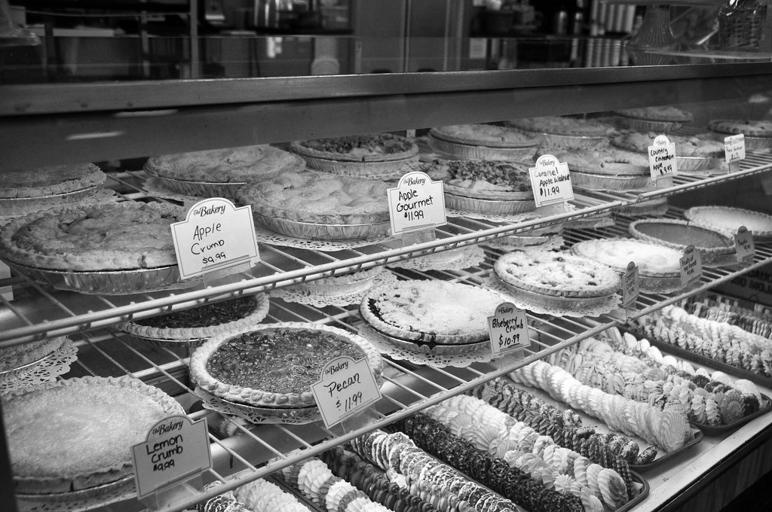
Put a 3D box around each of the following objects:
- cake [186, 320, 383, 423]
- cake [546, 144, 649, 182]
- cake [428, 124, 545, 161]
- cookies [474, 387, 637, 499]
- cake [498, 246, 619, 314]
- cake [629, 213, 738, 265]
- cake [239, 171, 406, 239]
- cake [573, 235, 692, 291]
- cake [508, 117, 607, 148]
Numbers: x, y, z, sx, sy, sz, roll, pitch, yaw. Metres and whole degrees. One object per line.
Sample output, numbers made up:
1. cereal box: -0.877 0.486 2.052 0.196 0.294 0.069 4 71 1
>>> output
1. cake: -0.337 0.321 1.645 0.411 0.085 0.384 12 18 22
2. cake: 0.882 -0.400 2.327 0.250 0.042 0.299 -9 25 -26
3. cake: 0.374 -0.458 2.244 0.293 0.068 0.260 17 25 31
4. cookies: 0.680 0.748 2.334 0.461 0.102 0.337 29 16 25
5. cake: 0.665 0.100 2.143 0.339 0.060 0.305 10 24 5
6. cake: 1.457 -0.088 2.687 0.297 0.074 0.310 -14 30 -36
7. cake: -0.198 -0.149 1.638 0.303 0.054 0.283 -4 23 -25
8. cake: 1.087 0.010 2.427 0.317 0.067 0.312 19 27 36
9. cake: 0.802 -0.572 2.536 0.329 0.055 0.298 17 25 34
